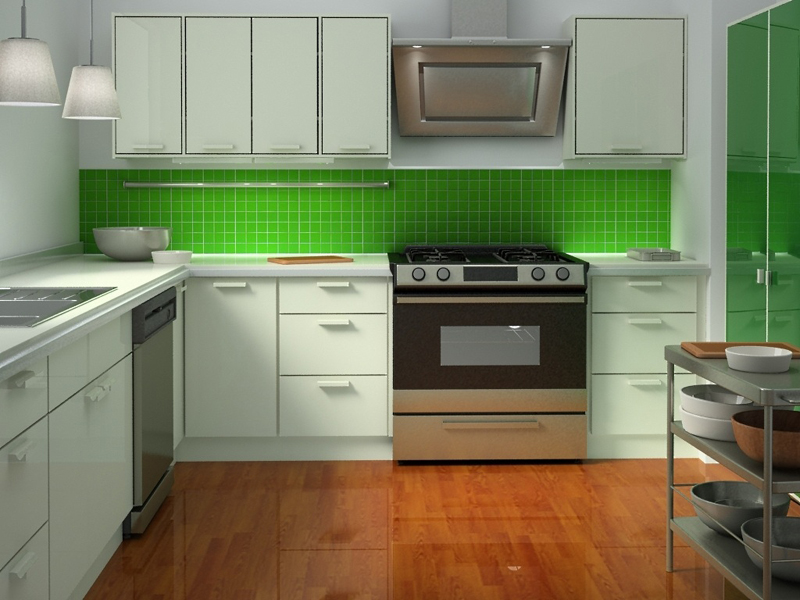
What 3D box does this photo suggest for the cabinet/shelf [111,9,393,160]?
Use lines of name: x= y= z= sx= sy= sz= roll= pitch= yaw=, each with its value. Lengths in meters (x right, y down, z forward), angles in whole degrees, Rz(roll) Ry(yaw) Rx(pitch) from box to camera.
cabinet/shelf: x=-0.749 y=-1.228 z=3.946 sx=1.714 sy=0.749 sz=0.502 roll=5 pitch=11 yaw=16

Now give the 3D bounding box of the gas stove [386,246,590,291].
gas stove: x=0.474 y=-0.199 z=3.831 sx=1.035 sy=0.182 sz=0.710 roll=0 pitch=10 yaw=-1

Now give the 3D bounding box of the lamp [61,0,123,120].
lamp: x=-1.251 y=-0.916 z=2.755 sx=0.208 sy=0.326 sz=0.211 roll=-1 pitch=10 yaw=-5

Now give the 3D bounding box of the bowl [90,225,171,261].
bowl: x=-1.450 y=-0.314 z=3.674 sx=0.262 sy=0.105 sz=0.246 roll=0 pitch=1 yaw=0

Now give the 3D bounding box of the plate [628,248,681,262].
plate: x=1.425 y=-0.257 z=3.785 sx=0.266 sy=0.056 sz=0.141 roll=2 pitch=10 yaw=11

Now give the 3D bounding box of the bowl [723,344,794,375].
bowl: x=1.187 y=0.186 z=2.225 sx=0.190 sy=0.059 sz=0.273 roll=6 pitch=11 yaw=29

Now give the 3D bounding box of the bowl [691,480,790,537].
bowl: x=1.172 y=0.731 z=2.390 sx=0.237 sy=0.082 sz=0.223 roll=-2 pitch=4 yaw=0

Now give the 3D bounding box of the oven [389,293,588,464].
oven: x=0.481 y=0.387 z=3.941 sx=1.356 sy=1.164 sz=0.851 roll=0 pitch=-2 yaw=-2
